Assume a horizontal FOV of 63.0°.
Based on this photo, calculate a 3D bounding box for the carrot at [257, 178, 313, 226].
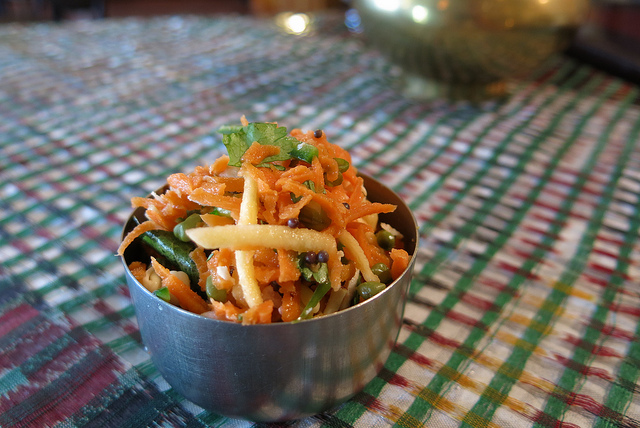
[{"bbox_3d":[-0.094,-0.017,1.268,0.116,0.044,0.121,-35,88,-5],"label":"carrot"}]

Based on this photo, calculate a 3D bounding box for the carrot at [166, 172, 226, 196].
[{"bbox_3d":[-0.326,-0.081,1.377,0.178,0.048,0.056,16,96,32],"label":"carrot"}]

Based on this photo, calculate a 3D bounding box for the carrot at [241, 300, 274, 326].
[{"bbox_3d":[-0.144,0.219,1.159,0.086,0.029,0.047,-26,82,-6],"label":"carrot"}]

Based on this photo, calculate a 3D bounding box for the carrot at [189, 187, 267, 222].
[{"bbox_3d":[-0.236,-0.028,1.296,0.234,0.057,0.051,-4,52,36],"label":"carrot"}]

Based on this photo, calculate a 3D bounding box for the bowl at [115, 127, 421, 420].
[{"bbox_3d":[-0.112,0.135,1.382,0.768,0.568,0.633,-10,45,-17],"label":"bowl"}]

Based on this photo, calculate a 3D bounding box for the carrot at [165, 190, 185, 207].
[{"bbox_3d":[-0.385,-0.042,1.376,0.051,0.012,0.028,37,85,-14],"label":"carrot"}]

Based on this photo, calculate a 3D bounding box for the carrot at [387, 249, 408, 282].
[{"bbox_3d":[0.196,0.129,1.359,0.082,0.032,0.076,2,75,-47],"label":"carrot"}]

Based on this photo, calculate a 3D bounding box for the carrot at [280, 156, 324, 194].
[{"bbox_3d":[-0.031,-0.101,1.325,0.099,0.024,0.082,20,61,7],"label":"carrot"}]

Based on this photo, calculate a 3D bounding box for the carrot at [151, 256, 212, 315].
[{"bbox_3d":[-0.363,0.195,1.320,0.050,0.207,0.064,8,62,26],"label":"carrot"}]

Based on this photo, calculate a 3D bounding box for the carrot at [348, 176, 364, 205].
[{"bbox_3d":[0.098,-0.061,1.402,0.026,0.025,0.090,9,59,39],"label":"carrot"}]

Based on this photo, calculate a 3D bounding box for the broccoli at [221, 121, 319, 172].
[{"bbox_3d":[-0.139,-0.169,1.393,0.214,0.057,0.128,10,68,-14],"label":"broccoli"}]

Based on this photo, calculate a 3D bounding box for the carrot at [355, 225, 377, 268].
[{"bbox_3d":[0.111,0.089,1.401,0.055,0.030,0.109,-16,85,-24],"label":"carrot"}]

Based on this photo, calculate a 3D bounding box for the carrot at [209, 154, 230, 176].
[{"bbox_3d":[-0.264,-0.123,1.389,0.057,0.023,0.051,-32,52,10],"label":"carrot"}]

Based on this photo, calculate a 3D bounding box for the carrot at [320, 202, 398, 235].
[{"bbox_3d":[0.111,-0.007,1.369,0.202,0.047,0.058,-6,64,-18],"label":"carrot"}]

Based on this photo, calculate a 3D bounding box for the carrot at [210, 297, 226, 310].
[{"bbox_3d":[-0.243,0.212,1.230,0.028,0.021,0.007,28,69,22],"label":"carrot"}]

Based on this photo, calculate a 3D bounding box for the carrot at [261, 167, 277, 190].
[{"bbox_3d":[-0.133,-0.087,1.341,0.051,0.015,0.047,17,46,-50],"label":"carrot"}]

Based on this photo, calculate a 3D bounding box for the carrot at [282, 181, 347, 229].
[{"bbox_3d":[-0.022,-0.018,1.301,0.168,0.045,0.039,27,39,-5],"label":"carrot"}]

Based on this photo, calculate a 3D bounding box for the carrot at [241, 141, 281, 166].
[{"bbox_3d":[-0.152,-0.158,1.341,0.109,0.045,0.038,-19,48,-25],"label":"carrot"}]

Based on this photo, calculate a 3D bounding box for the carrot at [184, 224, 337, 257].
[{"bbox_3d":[-0.129,0.071,1.261,0.375,0.072,0.093,-3,93,-21],"label":"carrot"}]

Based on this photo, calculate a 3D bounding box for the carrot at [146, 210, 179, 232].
[{"bbox_3d":[-0.422,0.017,1.390,0.073,0.022,0.045,39,54,-16],"label":"carrot"}]

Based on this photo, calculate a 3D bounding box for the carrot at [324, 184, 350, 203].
[{"bbox_3d":[0.046,-0.055,1.379,0.051,0.015,0.050,-26,77,-41],"label":"carrot"}]

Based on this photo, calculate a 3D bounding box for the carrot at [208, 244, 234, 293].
[{"bbox_3d":[-0.245,0.134,1.272,0.081,0.102,0.025,2,5,36],"label":"carrot"}]

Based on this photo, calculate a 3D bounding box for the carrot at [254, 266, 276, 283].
[{"bbox_3d":[-0.134,0.146,1.288,0.041,0.009,0.038,-1,42,-7],"label":"carrot"}]

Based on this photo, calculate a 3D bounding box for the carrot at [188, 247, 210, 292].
[{"bbox_3d":[-0.307,0.142,1.344,0.057,0.032,0.102,-22,77,8],"label":"carrot"}]
